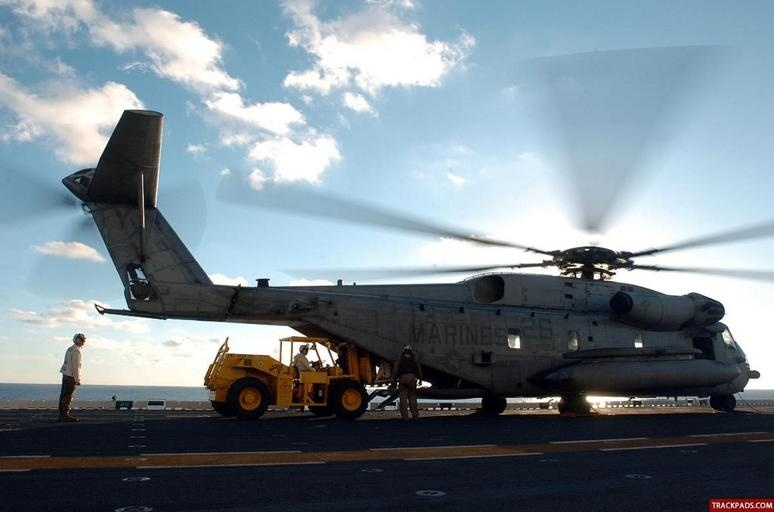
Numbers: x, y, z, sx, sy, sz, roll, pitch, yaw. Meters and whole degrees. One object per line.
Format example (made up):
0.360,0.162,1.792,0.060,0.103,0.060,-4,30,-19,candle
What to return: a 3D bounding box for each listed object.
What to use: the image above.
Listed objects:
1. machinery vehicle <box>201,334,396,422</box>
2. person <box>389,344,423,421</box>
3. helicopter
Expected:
-2.888,3.737,20.313,5.641,1.889,2.406,7,-10,-26,machinery vehicle
0.522,3.827,19.822,1.091,2.062,0.795,13,-24,-26,person
0.806,2.078,22.425,17.450,4.040,12.426,1,-1,-22,helicopter
